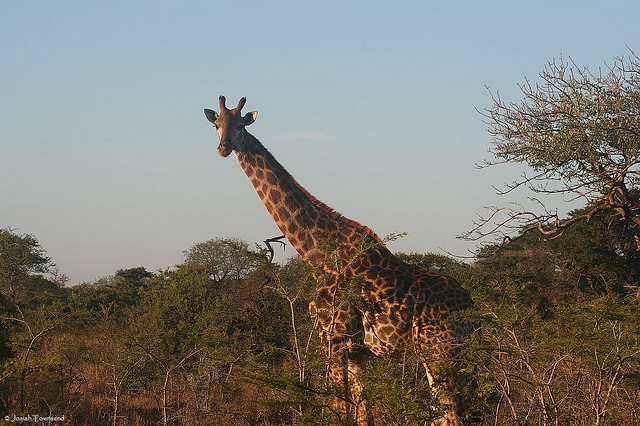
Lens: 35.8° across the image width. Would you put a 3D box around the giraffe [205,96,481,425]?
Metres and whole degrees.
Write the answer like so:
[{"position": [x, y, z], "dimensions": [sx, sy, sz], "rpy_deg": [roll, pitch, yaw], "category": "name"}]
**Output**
[{"position": [1.374, 2.127, 35.365], "dimensions": [8.438, 11.605, 3.963], "rpy_deg": [0, -31, 0], "category": "giraffe"}]
